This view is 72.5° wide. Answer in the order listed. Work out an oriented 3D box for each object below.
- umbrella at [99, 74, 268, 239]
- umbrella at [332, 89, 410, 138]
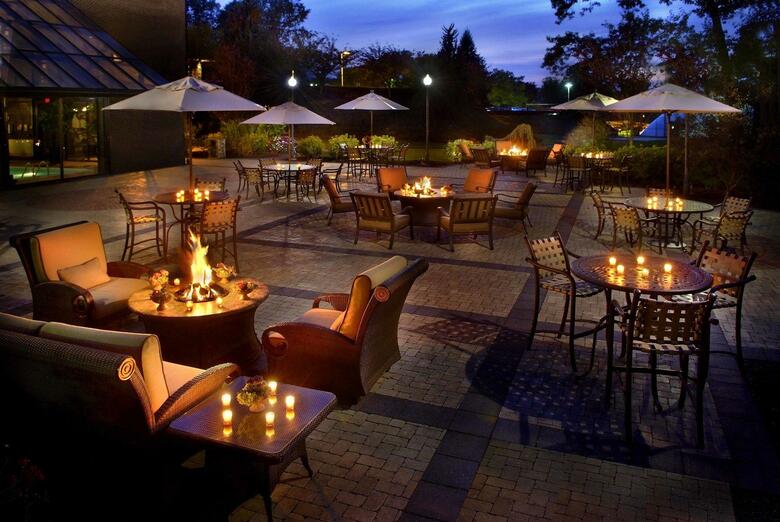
[{"bbox_3d":[-4.056,-2.296,12.045,2.961,2.088,3.052,4,12,18],"label":"umbrella"},{"bbox_3d":[-0.750,-5.769,21.590,2.271,1.814,2.290,2,9,22],"label":"umbrella"}]
